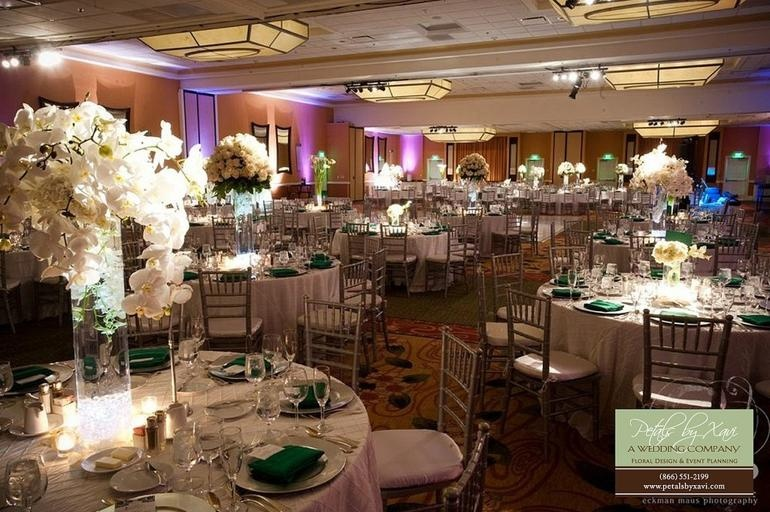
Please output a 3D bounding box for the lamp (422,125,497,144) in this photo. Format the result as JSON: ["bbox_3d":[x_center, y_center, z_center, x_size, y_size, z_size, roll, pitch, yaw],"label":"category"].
[{"bbox_3d":[2.867,-4.725,19.681,2.142,0.500,2.064,2,9,14],"label":"lamp"}]

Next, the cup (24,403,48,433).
[{"bbox_3d":[-1.846,0.861,2.691,0.110,0.138,0.076,-5,7,-34],"label":"cup"}]

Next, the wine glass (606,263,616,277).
[{"bbox_3d":[2.306,0.143,5.201,0.126,0.120,0.123,-4,3,-41],"label":"wine glass"}]

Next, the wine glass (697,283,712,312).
[{"bbox_3d":[2.714,0.343,4.343,0.088,0.235,0.155,-1,6,-3],"label":"wine glass"}]

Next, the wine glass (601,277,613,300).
[{"bbox_3d":[2.123,0.308,4.870,0.118,0.193,0.041,-4,-32,25],"label":"wine glass"}]

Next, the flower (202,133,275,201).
[{"bbox_3d":[-1.548,-1.009,5.713,0.715,0.734,0.731,8,16,27],"label":"flower"}]

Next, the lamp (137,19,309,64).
[{"bbox_3d":[-2.523,-3.569,8.325,2.532,0.412,1.236,2,7,28],"label":"lamp"}]

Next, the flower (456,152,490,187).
[{"bbox_3d":[2.201,-2.111,12.818,0.846,0.867,0.872,1,-9,35],"label":"flower"}]

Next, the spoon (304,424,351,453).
[{"bbox_3d":[-0.332,0.964,2.720,0.388,0.053,0.089,3,4,45],"label":"spoon"}]

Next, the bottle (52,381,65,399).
[{"bbox_3d":[-1.827,0.743,2.835,0.046,0.071,0.106,-6,8,-38],"label":"bottle"}]

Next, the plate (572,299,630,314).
[{"bbox_3d":[1.885,0.436,4.440,0.459,0.087,0.324,2,7,26],"label":"plate"}]

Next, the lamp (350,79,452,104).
[{"bbox_3d":[0.363,-4.175,12.728,2.210,0.419,1.158,2,6,21],"label":"lamp"}]

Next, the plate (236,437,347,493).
[{"bbox_3d":[-0.461,0.989,2.467,0.530,0.057,0.524,25,-51,-33],"label":"plate"}]

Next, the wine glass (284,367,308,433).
[{"bbox_3d":[-0.522,0.783,3.012,0.123,0.272,0.587,-2,6,-9],"label":"wine glass"}]

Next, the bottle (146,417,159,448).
[{"bbox_3d":[-1.171,0.886,2.561,0.061,0.168,0.035,-3,7,-23],"label":"bottle"}]

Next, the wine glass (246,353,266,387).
[{"bbox_3d":[-0.750,0.653,2.927,0.097,0.201,0.129,-3,7,-23],"label":"wine glass"}]

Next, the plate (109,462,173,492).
[{"bbox_3d":[-1.140,1.042,2.395,0.160,0.022,0.130,-6,10,-42],"label":"plate"}]

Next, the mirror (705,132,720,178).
[{"bbox_3d":[15.563,-4.599,24.229,0.094,2.314,0.466,-13,17,-29],"label":"mirror"}]

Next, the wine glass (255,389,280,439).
[{"bbox_3d":[-0.633,0.822,2.747,0.117,0.258,0.284,-2,6,-13],"label":"wine glass"}]

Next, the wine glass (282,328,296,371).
[{"bbox_3d":[-0.618,0.592,3.281,0.091,0.298,0.260,-2,6,-10],"label":"wine glass"}]

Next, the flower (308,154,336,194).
[{"bbox_3d":[-1.673,-1.904,12.671,0.731,1.028,0.716,-6,4,-21],"label":"flower"}]

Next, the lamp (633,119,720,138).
[{"bbox_3d":[9.724,-4.288,17.066,1.711,0.391,1.528,5,15,28],"label":"lamp"}]

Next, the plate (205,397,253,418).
[{"bbox_3d":[-0.886,0.874,2.916,0.140,0.019,0.140,2,12,1],"label":"plate"}]

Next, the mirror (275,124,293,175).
[{"bbox_3d":[-3.478,-3.656,17.559,0.115,1.608,0.898,2,7,23],"label":"mirror"}]

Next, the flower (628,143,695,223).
[{"bbox_3d":[3.757,-1.006,7.216,0.769,0.856,0.775,-15,5,-13],"label":"flower"}]
